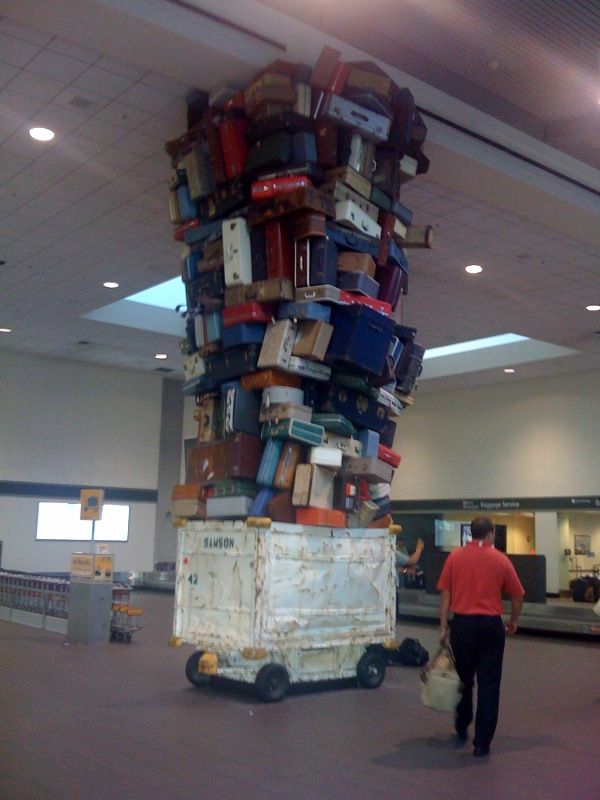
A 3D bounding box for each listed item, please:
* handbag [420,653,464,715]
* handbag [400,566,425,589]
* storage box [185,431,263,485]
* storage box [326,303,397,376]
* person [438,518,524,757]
[{"bbox_3d":[0.766,1.503,3.214,0.224,0.340,0.176,10,-6,3],"label":"handbag"},{"bbox_3d":[3.214,5.146,17.313,0.606,0.831,0.842,7,-7,-2],"label":"handbag"},{"bbox_3d":[-0.736,0.530,5.352,0.552,0.311,0.193,-8,-4,27],"label":"storage box"},{"bbox_3d":[0.497,-0.537,5.156,0.518,0.493,0.382,19,-6,-43],"label":"storage box"},{"bbox_3d":[0.978,1.410,3.367,0.416,1.132,0.480,8,-9,-33],"label":"person"}]
